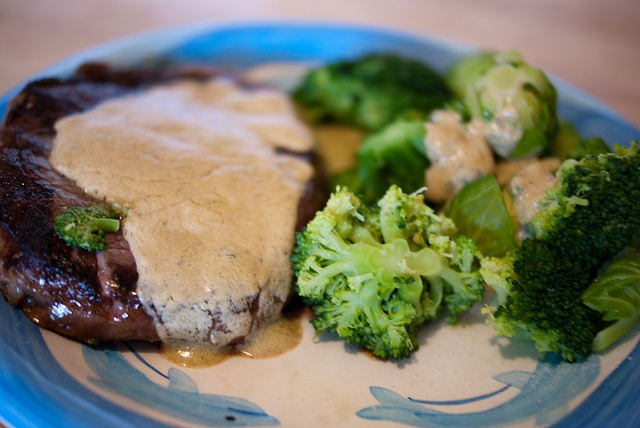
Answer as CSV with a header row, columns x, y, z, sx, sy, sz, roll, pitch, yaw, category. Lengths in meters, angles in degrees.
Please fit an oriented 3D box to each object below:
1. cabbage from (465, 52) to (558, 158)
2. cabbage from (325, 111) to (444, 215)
x,y,z,sx,sy,sz,roll,pitch,yaw,category
0.676,-0.348,2.141,0.290,0.322,0.367,-4,74,-39,cabbage
0.272,-0.216,2.386,0.236,0.321,0.428,-17,28,-10,cabbage
